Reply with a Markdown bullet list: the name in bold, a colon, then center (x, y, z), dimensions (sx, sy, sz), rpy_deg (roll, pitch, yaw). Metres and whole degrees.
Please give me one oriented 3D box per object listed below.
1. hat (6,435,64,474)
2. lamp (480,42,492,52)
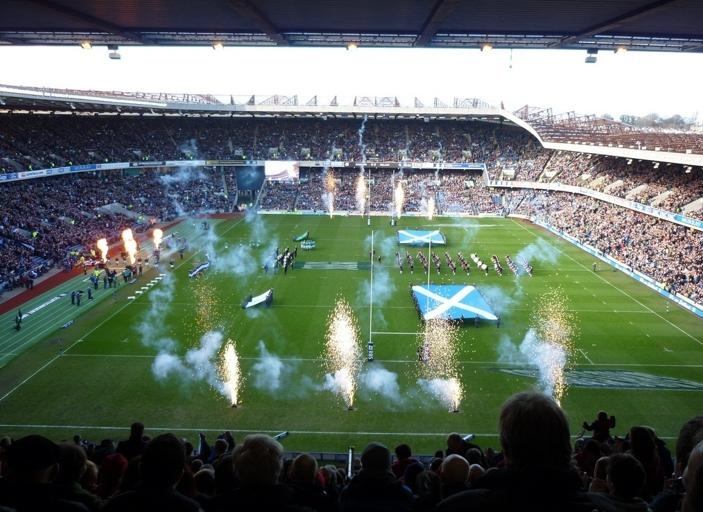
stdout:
- **hat**: center (-3.837, 2.384, 6.100), dimensions (0.557, 0.431, 0.344), rpy_deg (16, -27, -23)
- **lamp**: center (3.158, -4.849, 11.827), dimensions (0.237, 0.310, 0.229), rpy_deg (-1, -26, 14)
